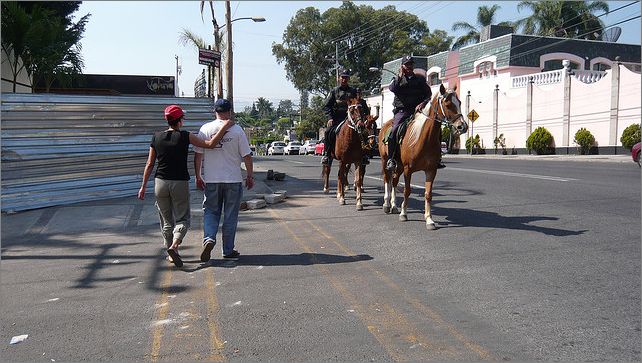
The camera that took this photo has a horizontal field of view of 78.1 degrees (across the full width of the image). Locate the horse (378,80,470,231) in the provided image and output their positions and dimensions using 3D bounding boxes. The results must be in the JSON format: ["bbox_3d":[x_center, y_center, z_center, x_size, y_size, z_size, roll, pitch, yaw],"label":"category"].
[{"bbox_3d":[2.676,-0.718,10.767,1.235,3.673,2.485,-7,14,-22],"label":"horse"}]

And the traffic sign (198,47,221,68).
[{"bbox_3d":[-5.098,-5.775,18.360,0.872,0.828,1.816,-4,14,-11],"label":"traffic sign"}]

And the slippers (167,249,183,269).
[{"bbox_3d":[-2.798,1.493,7.673,0.227,0.483,0.212,-7,14,-21],"label":"slippers"}]

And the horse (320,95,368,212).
[{"bbox_3d":[0.905,-0.970,13.402,1.400,3.668,3.273,-2,13,-3],"label":"horse"}]

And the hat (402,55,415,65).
[{"bbox_3d":[2.472,-3.425,11.201,0.211,0.296,0.293,3,-33,-3],"label":"hat"}]

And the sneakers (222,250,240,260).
[{"bbox_3d":[-1.829,1.545,8.235,0.364,0.152,0.127,5,2,-41],"label":"sneakers"}]

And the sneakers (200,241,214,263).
[{"bbox_3d":[-2.210,1.377,7.899,0.208,0.520,0.227,19,19,-15],"label":"sneakers"}]

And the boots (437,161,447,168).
[{"bbox_3d":[3.419,-0.453,11.339,0.191,0.218,0.518,-3,-7,11],"label":"boots"}]

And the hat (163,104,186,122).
[{"bbox_3d":[-2.954,-1.368,8.003,0.297,0.304,0.265,-5,14,-16],"label":"hat"}]
